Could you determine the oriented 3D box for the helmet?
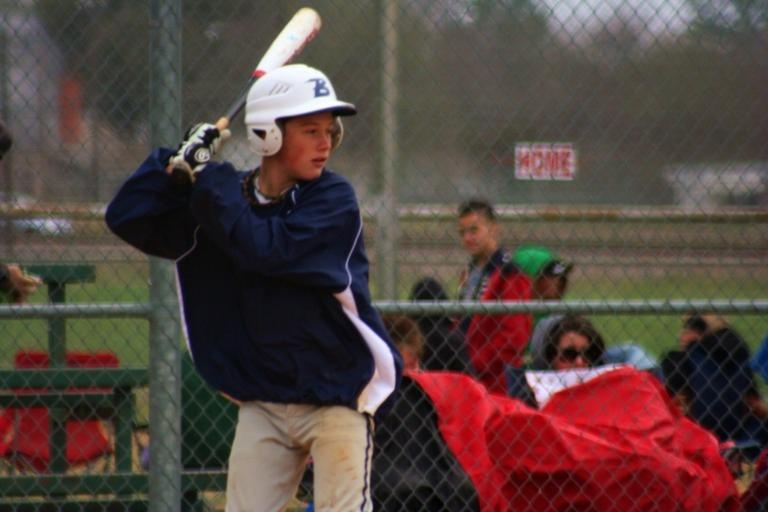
[{"bbox_3d":[-0.447,-0.776,7.042,0.501,0.461,0.417,2,2,30],"label":"helmet"}]

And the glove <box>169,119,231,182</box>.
[{"bbox_3d":[-0.985,-0.591,6.983,0.224,0.390,0.149,39,-25,-20],"label":"glove"}]
